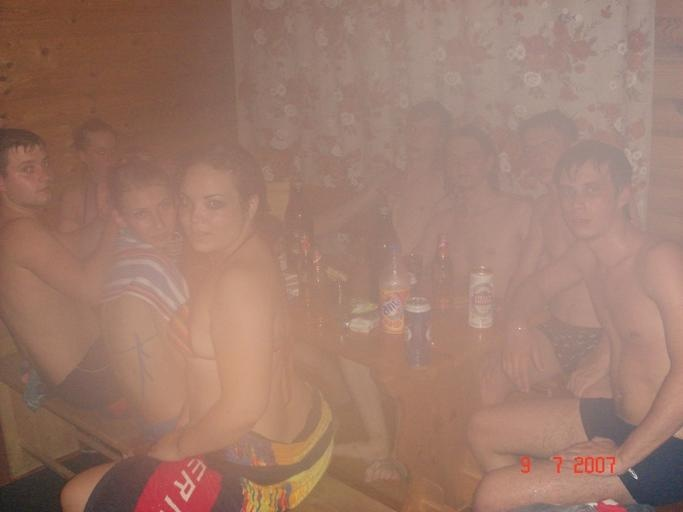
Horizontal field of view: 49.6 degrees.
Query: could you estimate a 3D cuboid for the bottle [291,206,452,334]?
[{"bbox_3d":[0.089,0.037,2.384,0.388,0.325,0.382,-1,2,-5],"label":"bottle"}]
